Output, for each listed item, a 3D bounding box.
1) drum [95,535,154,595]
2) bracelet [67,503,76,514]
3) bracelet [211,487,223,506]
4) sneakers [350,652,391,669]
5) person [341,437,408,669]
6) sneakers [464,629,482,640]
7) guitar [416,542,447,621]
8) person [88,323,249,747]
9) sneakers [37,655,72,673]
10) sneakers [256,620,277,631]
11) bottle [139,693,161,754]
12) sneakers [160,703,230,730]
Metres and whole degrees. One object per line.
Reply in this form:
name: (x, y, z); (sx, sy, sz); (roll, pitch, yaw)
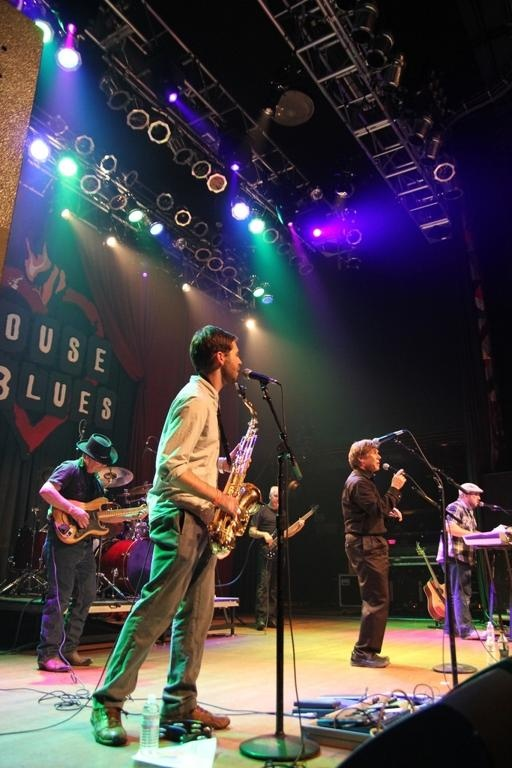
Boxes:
drum: (-1.392, 1.988, 6.532); (0.409, 0.578, 0.579); (-8, -15, 29)
bracelet: (-1.442, 0.969, 4.639); (0.071, 0.080, 0.091); (-3, -11, 21)
bracelet: (-0.160, 0.478, 2.538); (0.055, 0.060, 0.068); (19, 4, -4)
sneakers: (0.881, 2.129, 4.586); (0.267, 0.122, 0.116); (-3, -13, 11)
person: (0.946, 1.314, 4.864); (0.517, 1.846, 0.809); (2, -14, 13)
sneakers: (2.388, 2.741, 6.490); (0.184, 0.098, 0.589); (0, -15, 19)
guitar: (2.207, 2.271, 7.006); (0.385, 0.964, 0.138); (-7, 7, 29)
person: (-0.320, 0.589, 2.715); (0.533, 1.913, 0.561); (0, -15, 18)
sneakers: (-1.481, 2.085, 4.381); (0.177, 0.094, 0.295); (14, -17, -33)
sneakers: (0.127, 3.222, 7.944); (0.203, 0.134, 0.573); (1, -15, 14)
bottle: (-0.409, 1.317, 2.319); (0.074, 0.209, 0.172); (7, -14, -7)
sneakers: (-0.248, 1.481, 2.674); (0.338, 0.138, 0.118); (11, -38, -20)
